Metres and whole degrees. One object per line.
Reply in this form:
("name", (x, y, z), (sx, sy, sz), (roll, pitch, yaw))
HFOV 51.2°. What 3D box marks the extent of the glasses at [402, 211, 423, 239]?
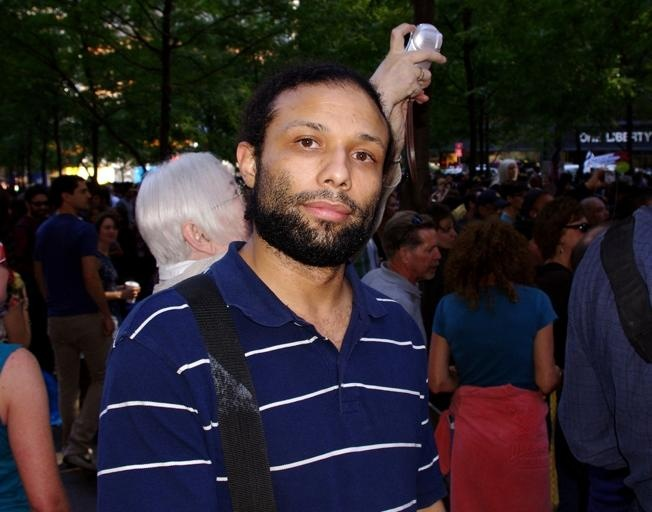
("glasses", (0.697, -0.256, 5.448), (0.090, 0.151, 0.115), (34, 13, 17))
